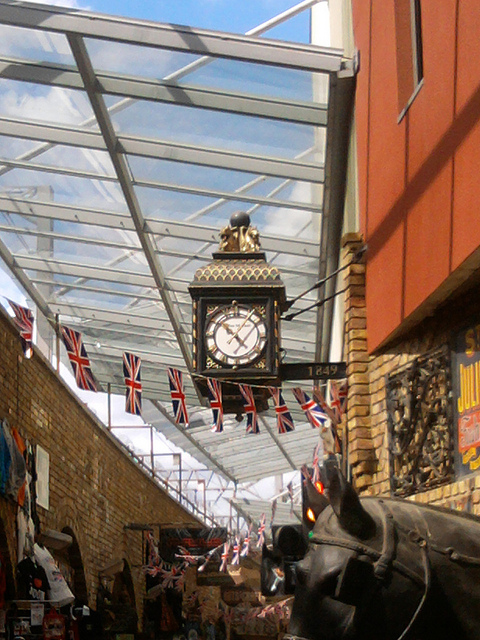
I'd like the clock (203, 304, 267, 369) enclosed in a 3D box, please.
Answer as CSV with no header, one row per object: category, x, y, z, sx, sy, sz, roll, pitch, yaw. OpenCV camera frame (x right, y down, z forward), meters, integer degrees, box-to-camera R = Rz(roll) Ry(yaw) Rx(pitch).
clock,-0.046,0.150,10.835,0.462,0.507,0.039,2,-4,3

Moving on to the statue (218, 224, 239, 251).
statue,-0.095,-0.682,11.325,0.183,0.257,0.157,3,-14,-7

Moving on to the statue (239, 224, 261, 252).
statue,0.079,-0.680,11.318,0.166,0.342,0.240,-3,-20,-1
